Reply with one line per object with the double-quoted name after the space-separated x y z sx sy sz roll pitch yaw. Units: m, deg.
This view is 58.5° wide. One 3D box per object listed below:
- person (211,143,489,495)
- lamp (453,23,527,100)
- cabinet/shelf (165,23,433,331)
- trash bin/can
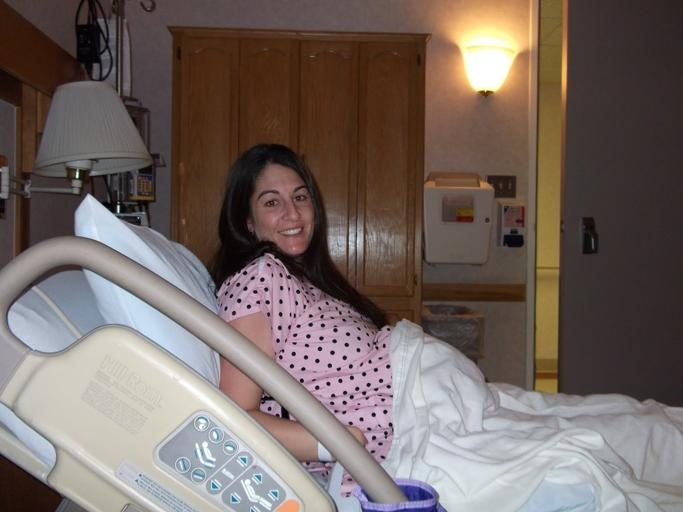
-0.109 0.262 1.932 0.392 1.141 0.546 -15 -9 17 "person"
0.918 -1.162 3.846 0.315 0.337 0.390 8 25 17 "lamp"
-0.197 -0.396 2.786 1.282 2.066 0.487 1 4 -1 "cabinet/shelf"
0.611 0.413 3.562 0.353 0.281 0.391 15 2 17 "trash bin/can"
